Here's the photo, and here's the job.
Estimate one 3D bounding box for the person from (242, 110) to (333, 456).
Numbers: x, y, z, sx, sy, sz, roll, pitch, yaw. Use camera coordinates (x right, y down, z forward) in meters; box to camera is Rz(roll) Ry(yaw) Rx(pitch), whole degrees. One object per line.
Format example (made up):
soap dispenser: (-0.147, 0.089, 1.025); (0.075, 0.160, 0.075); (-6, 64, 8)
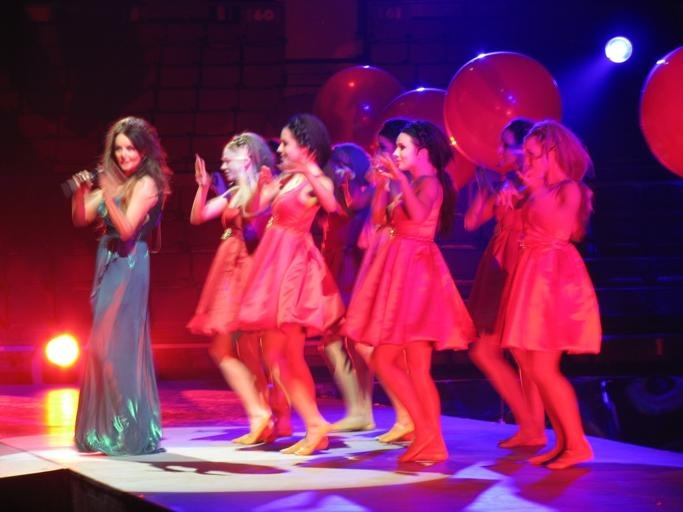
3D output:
person: (-0.273, 0.146, 3.787); (0.564, 1.813, 0.387); (-6, -13, 11)

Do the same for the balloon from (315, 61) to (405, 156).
balloon: (0.122, -1.115, 5.079); (0.597, 0.658, 0.590); (-11, 21, -20)

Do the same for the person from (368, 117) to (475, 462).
person: (0.387, 0.158, 3.612); (0.637, 1.755, 0.393); (9, -18, -43)

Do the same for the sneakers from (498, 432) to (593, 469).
sneakers: (1.041, 0.950, 3.472); (0.343, 0.223, 0.134); (-11, -6, 11)

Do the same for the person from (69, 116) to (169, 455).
person: (-1.174, 0.147, 3.701); (0.499, 1.762, 0.509); (0, -13, -15)

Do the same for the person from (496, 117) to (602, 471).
person: (1.065, 0.174, 3.474); (0.531, 1.695, 0.300); (-8, -13, 20)

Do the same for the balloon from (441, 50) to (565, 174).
balloon: (0.904, -0.831, 4.392); (0.724, 0.783, 0.716); (2, -3, -19)
